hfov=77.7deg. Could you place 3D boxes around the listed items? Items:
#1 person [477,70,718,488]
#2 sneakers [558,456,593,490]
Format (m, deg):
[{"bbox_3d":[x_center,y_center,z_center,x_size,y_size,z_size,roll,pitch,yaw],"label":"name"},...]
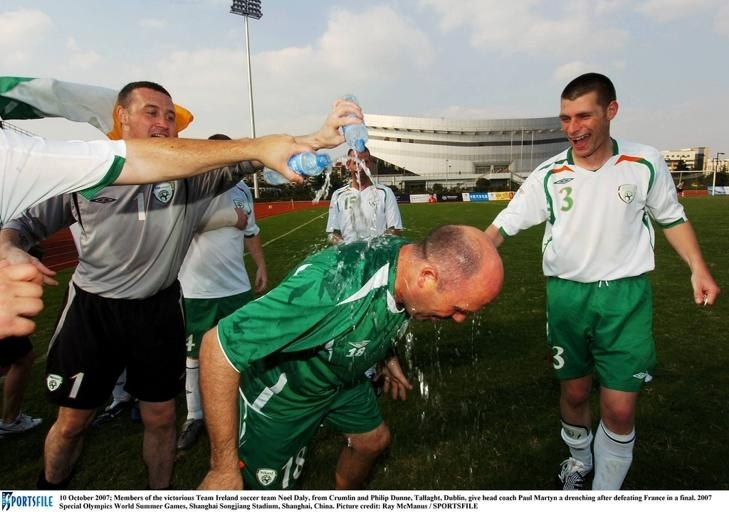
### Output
[{"bbox_3d":[1.815,0.194,3.498,1.434,3.150,0.938,-2,11,14],"label":"person"},{"bbox_3d":[1.737,1.712,3.603,0.120,0.352,0.162,18,43,-13],"label":"sneakers"}]
